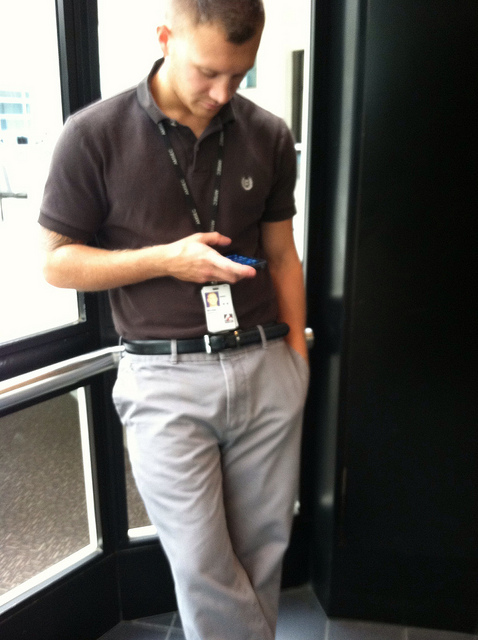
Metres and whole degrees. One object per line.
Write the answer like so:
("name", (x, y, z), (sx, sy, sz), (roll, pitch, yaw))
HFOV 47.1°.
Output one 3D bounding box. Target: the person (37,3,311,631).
("person", (-0.041, 0.096, 1.273), (0.628, 1.457, 0.384), (-18, 24, -37))
